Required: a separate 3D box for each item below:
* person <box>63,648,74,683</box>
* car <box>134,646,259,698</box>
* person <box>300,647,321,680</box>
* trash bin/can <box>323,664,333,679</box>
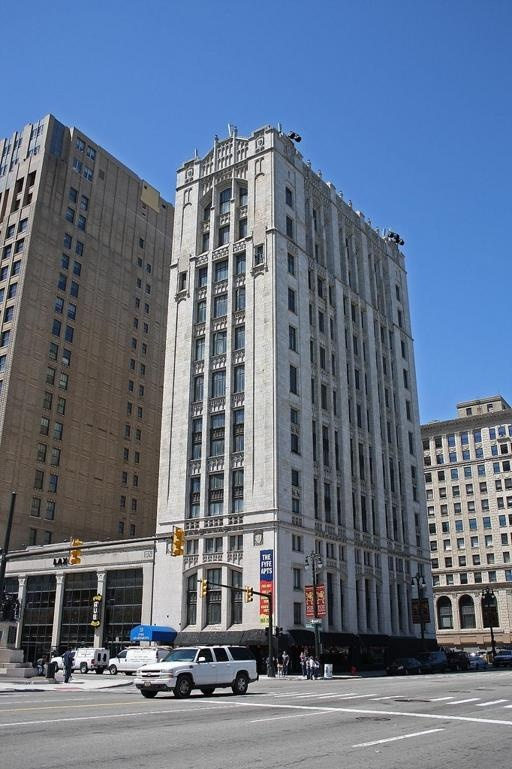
[{"bbox_3d":[-9.858,14.633,31.001,0.392,1.533,3.004,5,-22,-17],"label":"person"},{"bbox_3d":[-1.915,10.396,21.514,0.959,1.774,4.608,-19,-27,40],"label":"car"},{"bbox_3d":[3.718,19.289,40.858,0.978,1.422,2.359,-1,-21,-2],"label":"person"},{"bbox_3d":[5.201,20.646,43.143,0.508,0.757,1.212,-1,-21,-2],"label":"trash bin/can"}]
